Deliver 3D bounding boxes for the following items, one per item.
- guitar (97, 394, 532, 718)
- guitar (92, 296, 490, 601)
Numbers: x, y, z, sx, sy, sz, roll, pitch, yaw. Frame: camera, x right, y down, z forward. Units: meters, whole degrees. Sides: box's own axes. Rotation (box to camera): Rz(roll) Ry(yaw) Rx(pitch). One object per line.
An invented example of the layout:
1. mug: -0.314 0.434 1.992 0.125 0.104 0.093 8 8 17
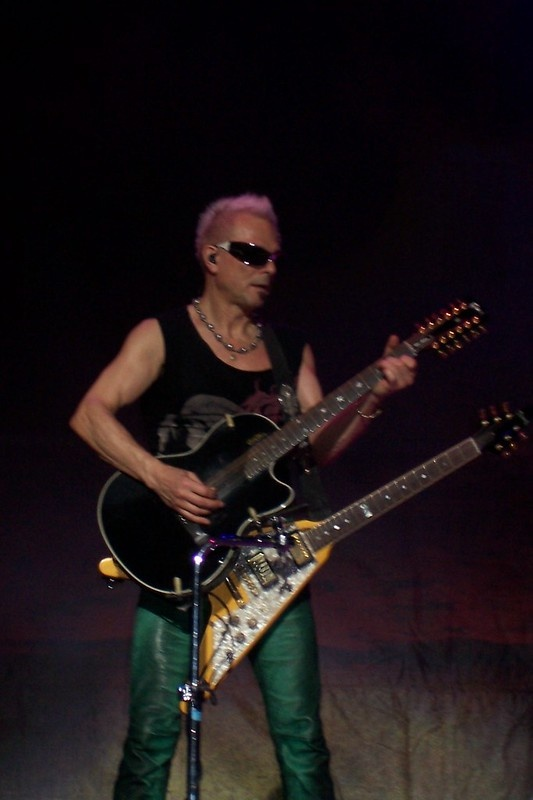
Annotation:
1. guitar: 0.223 0.572 2.373 1.447 0.519 0.235 -30 -10 -6
2. guitar: 0.182 0.076 2.177 1.642 0.492 0.161 -31 -3 -18
